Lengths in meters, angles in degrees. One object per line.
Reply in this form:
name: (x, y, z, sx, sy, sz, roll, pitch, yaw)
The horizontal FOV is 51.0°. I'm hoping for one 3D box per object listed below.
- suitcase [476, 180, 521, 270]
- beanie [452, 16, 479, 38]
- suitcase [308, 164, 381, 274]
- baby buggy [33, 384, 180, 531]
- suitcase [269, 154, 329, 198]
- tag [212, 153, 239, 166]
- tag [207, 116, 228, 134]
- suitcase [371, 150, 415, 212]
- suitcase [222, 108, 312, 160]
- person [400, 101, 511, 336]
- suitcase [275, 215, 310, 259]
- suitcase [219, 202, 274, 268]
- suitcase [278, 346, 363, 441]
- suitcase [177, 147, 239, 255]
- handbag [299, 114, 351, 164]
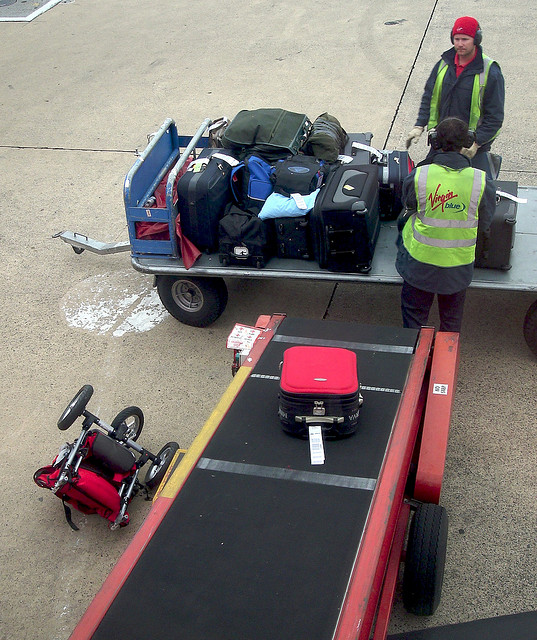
suitcase: (1.498, -0.601, 3.671, 0.301, 0.344, 0.511, 10, 42, 22)
beanie: (1.448, -2.154, 4.138, 0.141, 0.146, 0.188, 5, 37, 4)
suitcase: (0.548, -0.754, 3.925, 0.454, 0.735, 0.517, 12, 35, 5)
baby buggy: (-0.913, 0.837, 3.189, 0.724, 0.412, 0.919, 37, 28, -16)
suitcase: (0.237, -1.107, 4.189, 0.487, 0.349, 0.501, 8, 35, 10)
tag: (-0.315, -1.236, 4.289, 0.177, 0.046, 0.099, 30, 44, 11)
tag: (-0.468, -1.744, 5.027, 0.176, 0.069, 0.128, -17, 24, 16)
suitcase: (0.927, -1.023, 4.186, 0.318, 0.595, 0.372, -2, 66, 6)
suitcase: (-0.027, -1.527, 4.581, 0.636, 0.213, 0.712, 5, 46, 17)
person: (1.173, -0.508, 3.655, 0.534, 1.508, 0.478, 8, 40, 14)
suitcase: (0.175, -0.582, 4.018, 0.257, 0.345, 0.275, 0, 40, 3)
suitcase: (-0.151, -0.589, 4.184, 0.359, 0.423, 0.337, 9, 36, 11)
suitcase: (0.224, 0.296, 2.415, 0.330, 0.238, 0.392, 1, 45, 12)
suitcase: (-0.462, -0.852, 4.207, 0.358, 0.634, 0.430, 22, 39, -4)
handbag: (0.482, -1.566, 4.746, 0.332, 0.197, 0.595, 15, 45, 10)
